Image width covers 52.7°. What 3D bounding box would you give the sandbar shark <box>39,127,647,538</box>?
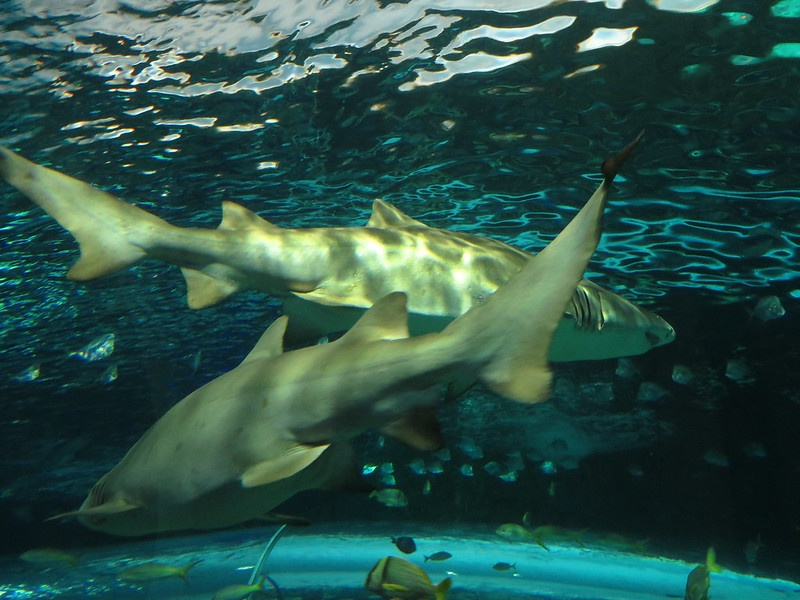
[{"bbox_3d":[1.529,0.898,12.148,12.127,3.830,3.167,-19,40,13],"label":"sandbar shark"}]
